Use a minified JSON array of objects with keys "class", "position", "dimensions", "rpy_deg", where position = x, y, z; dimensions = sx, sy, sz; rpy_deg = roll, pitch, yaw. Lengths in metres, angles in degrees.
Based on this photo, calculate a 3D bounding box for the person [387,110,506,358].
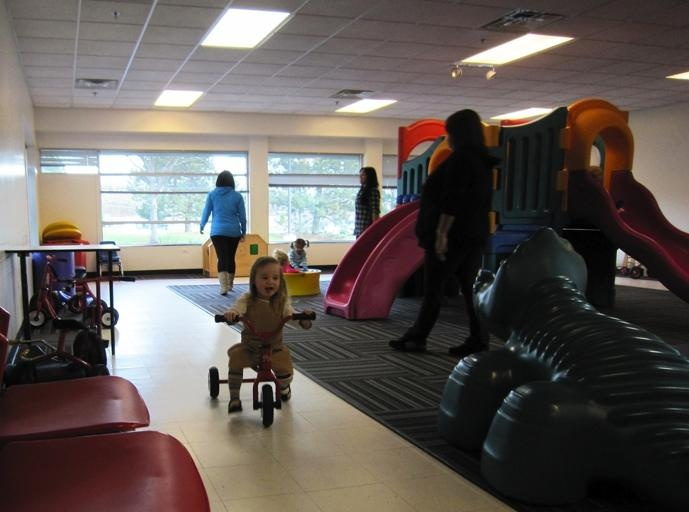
[{"class":"person","position":[0.760,-0.132,3.714],"dimensions":[0.658,1.833,0.422],"rpy_deg":[2,7,19]}]

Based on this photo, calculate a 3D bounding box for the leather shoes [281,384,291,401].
[{"class":"leather shoes","position":[-0.355,0.821,3.034],"dimensions":[0.076,0.092,0.232],"rpy_deg":[-1,-11,-6]}]

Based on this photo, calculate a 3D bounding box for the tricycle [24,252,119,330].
[{"class":"tricycle","position":[-2.745,0.367,5.074],"dimensions":[0.958,0.716,0.540],"rpy_deg":[0,-2,-16]}]

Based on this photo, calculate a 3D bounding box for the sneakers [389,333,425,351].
[{"class":"sneakers","position":[0.499,0.691,4.087],"dimensions":[0.295,0.127,0.120],"rpy_deg":[3,1,-2]}]

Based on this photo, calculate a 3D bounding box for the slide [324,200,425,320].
[{"class":"slide","position":[0.112,0.109,5.444],"dimensions":[1.460,1.324,0.820],"rpy_deg":[-3,4,-21]}]

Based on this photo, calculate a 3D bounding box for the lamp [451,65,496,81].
[{"class":"lamp","position":[1.754,-2.566,7.010],"dimensions":[0.481,0.196,0.315],"rpy_deg":[-3,11,-6]}]

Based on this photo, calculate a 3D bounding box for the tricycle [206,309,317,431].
[{"class":"tricycle","position":[-0.541,0.648,3.071],"dimensions":[0.559,0.606,0.944],"rpy_deg":[6,-4,-24]}]

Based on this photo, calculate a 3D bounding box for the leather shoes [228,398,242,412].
[{"class":"leather shoes","position":[-0.623,0.855,2.889],"dimensions":[0.052,0.048,0.115],"rpy_deg":[0,-14,-15]}]
